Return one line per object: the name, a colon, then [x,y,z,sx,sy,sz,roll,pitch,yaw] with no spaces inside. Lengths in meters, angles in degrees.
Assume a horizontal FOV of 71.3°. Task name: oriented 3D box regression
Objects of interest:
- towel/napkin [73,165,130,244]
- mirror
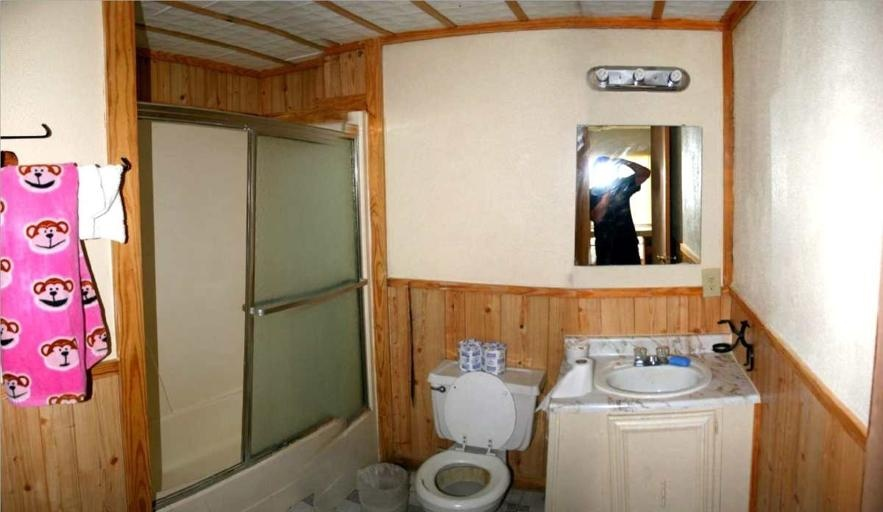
towel/napkin: [-1.715,-0.262,3.074,0.374,0.317,0.105,3,5,-11]
mirror: [1.259,-0.419,3.818,1.051,0.927,0.037,0,3,2]
